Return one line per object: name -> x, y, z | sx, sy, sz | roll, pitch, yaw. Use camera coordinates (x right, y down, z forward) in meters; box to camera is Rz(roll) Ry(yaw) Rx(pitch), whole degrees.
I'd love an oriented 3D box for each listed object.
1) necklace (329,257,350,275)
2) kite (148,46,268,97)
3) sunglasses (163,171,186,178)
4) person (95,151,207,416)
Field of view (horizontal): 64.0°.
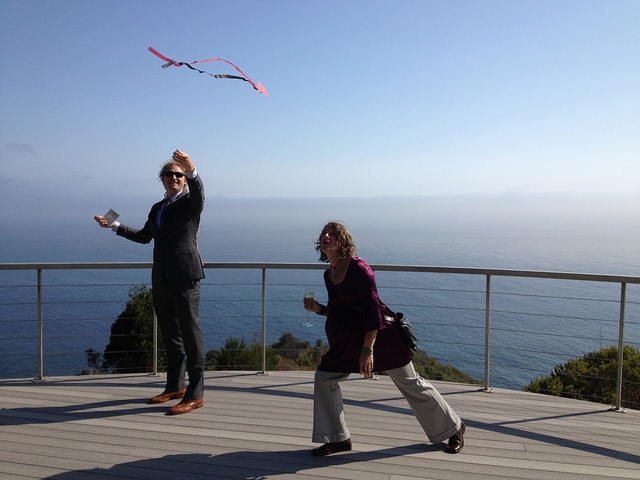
necklace -> 0.143, 0.179, 3.712 | 0.031, 0.125, 0.096 | 35, -10, -11
kite -> -0.841, -1.314, 3.917 | 0.844, 0.355, 0.504 | 0, 0, -42
sunglasses -> -1.319, -0.581, 4.544 | 0.212, 0.053, 0.112 | 0, 0, 5
person -> -1.293, 0.364, 4.563 | 0.547, 2.180, 0.924 | 0, 0, -33
